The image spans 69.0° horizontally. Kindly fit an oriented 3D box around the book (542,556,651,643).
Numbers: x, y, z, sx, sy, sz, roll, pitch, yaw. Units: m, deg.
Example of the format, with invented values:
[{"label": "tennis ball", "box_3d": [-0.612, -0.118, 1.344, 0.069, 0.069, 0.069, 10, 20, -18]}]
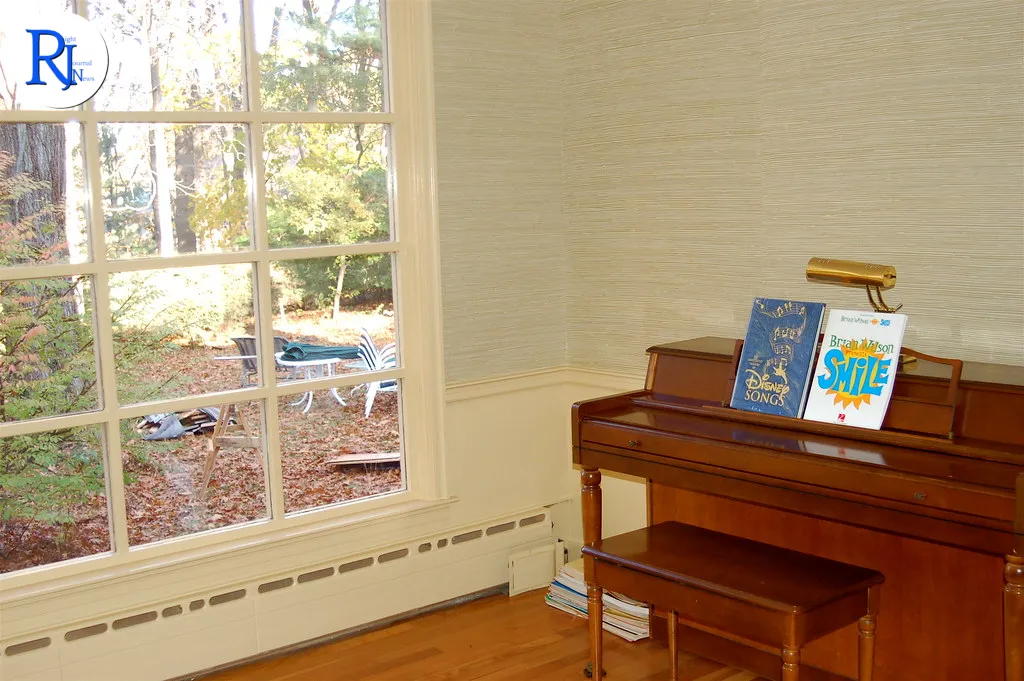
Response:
[{"label": "book", "box_3d": [0.450, 1.301, 3.736, 0.439, 0.098, 0.402, 3, -1, -35]}]
